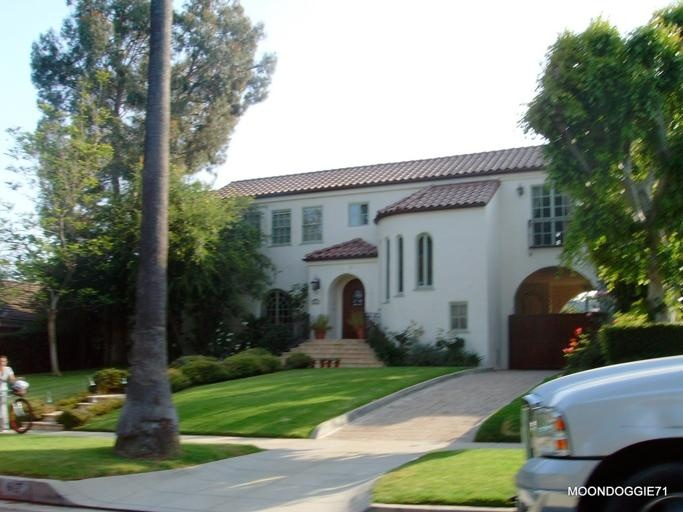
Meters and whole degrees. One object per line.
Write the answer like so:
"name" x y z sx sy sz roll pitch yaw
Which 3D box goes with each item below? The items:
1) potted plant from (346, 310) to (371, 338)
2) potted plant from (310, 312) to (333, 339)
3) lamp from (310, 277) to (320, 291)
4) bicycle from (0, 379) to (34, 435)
"potted plant" 0.774 2.844 29.814 1.318 1.045 1.155 -4 -3 12
"potted plant" -0.837 2.921 30.016 0.758 1.044 0.698 -4 -9 18
"lamp" -1.228 1.182 30.368 0.562 0.555 0.493 2 -3 6
"bicycle" -7.951 3.652 17.565 0.511 1.284 1.249 7 -12 -42
